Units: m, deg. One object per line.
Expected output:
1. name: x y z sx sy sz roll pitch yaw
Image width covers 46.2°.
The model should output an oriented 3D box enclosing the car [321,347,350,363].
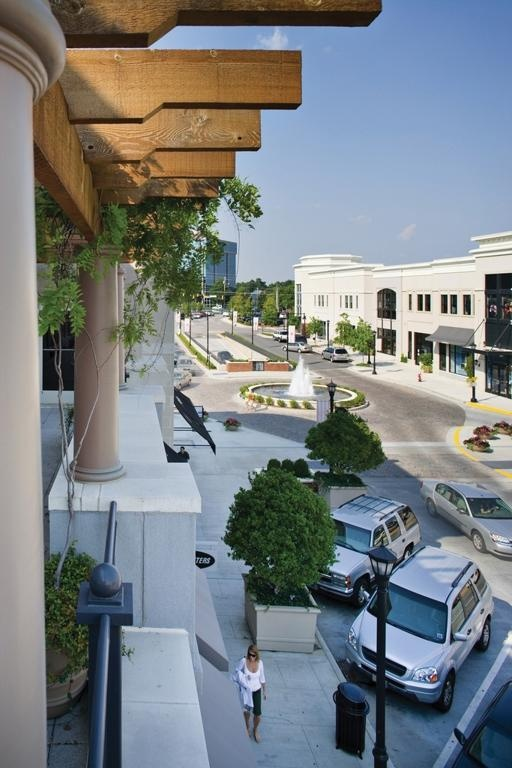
1. car: 7.782 -2.948 59.054 1.225 1.005 2.725 -2 15 -11

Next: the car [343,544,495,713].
1. car: 2.783 3.767 9.699 1.493 1.223 2.228 10 5 36

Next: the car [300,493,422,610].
1. car: 2.368 3.581 13.078 1.680 1.570 3.080 2 1 36

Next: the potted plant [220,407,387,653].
1. potted plant: 0.735 2.973 10.695 1.683 3.016 2.797 3 3 35

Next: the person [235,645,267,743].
1. person: -0.089 4.029 7.961 0.370 1.302 0.831 1 3 1
